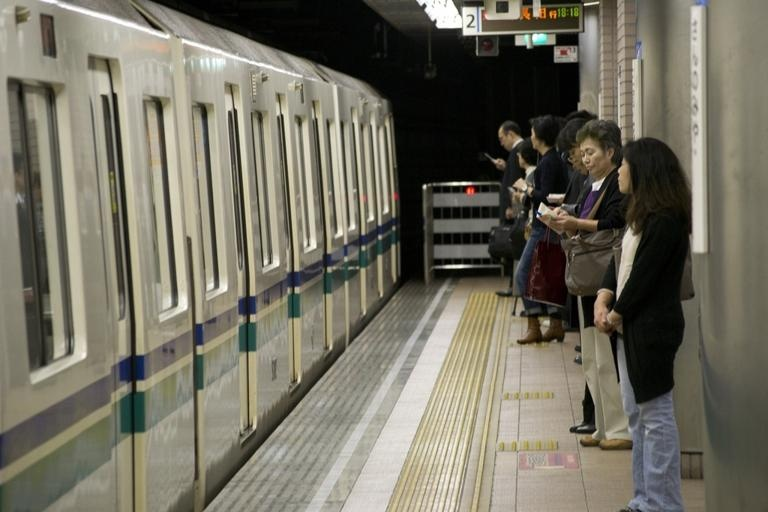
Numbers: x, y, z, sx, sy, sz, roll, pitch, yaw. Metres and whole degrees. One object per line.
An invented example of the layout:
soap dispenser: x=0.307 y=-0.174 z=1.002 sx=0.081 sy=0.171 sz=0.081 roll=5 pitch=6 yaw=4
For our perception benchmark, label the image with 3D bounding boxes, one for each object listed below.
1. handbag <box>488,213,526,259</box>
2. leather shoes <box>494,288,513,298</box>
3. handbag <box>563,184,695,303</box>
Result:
handbag: x=1.857 y=-0.273 z=10.902 sx=0.688 sy=0.825 sz=0.335 roll=-5 pitch=-8 yaw=25
leather shoes: x=2.053 y=0.652 z=12.465 sx=0.288 sy=0.140 sz=0.107 roll=4 pitch=8 yaw=7
handbag: x=1.659 y=-0.081 z=5.156 sx=0.913 sy=1.067 sz=0.697 roll=-3 pitch=0 yaw=14
